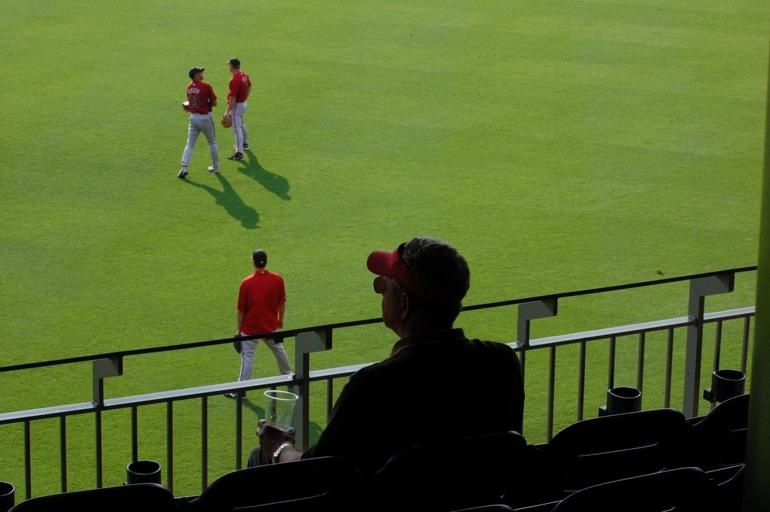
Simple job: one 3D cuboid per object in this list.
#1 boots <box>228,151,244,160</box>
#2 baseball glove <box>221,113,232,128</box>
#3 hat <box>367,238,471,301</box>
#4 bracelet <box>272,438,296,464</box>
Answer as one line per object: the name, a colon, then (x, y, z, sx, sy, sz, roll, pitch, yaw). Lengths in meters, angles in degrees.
boots: (-3.182, -2.090, 33.989, 0.405, 0.182, 0.124, 0, 13, -11)
baseball glove: (-3.282, -2.796, 33.381, 0.207, 0.325, 0.586, -2, -9, -6)
hat: (0.505, 0.241, 21.763, 1.234, 0.769, 0.548, 26, -44, 5)
bracelet: (-1.396, 2.695, 21.803, 0.281, 0.263, 0.125, 10, -9, 39)
